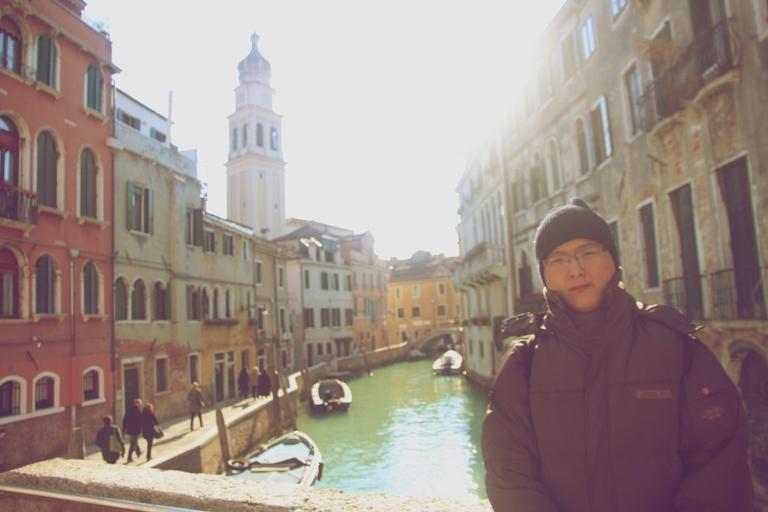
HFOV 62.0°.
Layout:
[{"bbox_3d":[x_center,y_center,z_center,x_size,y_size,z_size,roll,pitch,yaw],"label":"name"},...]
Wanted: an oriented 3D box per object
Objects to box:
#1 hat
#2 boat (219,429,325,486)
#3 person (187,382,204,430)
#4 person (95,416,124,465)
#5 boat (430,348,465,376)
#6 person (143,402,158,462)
[{"bbox_3d":[3.239,-0.280,10.753,0.873,0.980,1.201,-8,-30,27],"label":"hat"},{"bbox_3d":[-3.794,7.735,23.916,2.593,1.181,6.483,1,0,6],"label":"boat"},{"bbox_3d":[-7.618,5.953,25.823,0.539,1.623,2.093,-2,-1,-18],"label":"person"},{"bbox_3d":[-8.666,5.890,20.218,0.801,1.233,1.099,-2,-1,-26],"label":"person"},{"bbox_3d":[5.193,8.758,51.376,2.293,1.724,4.374,-2,-1,4],"label":"boat"},{"bbox_3d":[-7.758,5.862,21.303,0.549,1.533,1.835,-2,-1,-21],"label":"person"}]
